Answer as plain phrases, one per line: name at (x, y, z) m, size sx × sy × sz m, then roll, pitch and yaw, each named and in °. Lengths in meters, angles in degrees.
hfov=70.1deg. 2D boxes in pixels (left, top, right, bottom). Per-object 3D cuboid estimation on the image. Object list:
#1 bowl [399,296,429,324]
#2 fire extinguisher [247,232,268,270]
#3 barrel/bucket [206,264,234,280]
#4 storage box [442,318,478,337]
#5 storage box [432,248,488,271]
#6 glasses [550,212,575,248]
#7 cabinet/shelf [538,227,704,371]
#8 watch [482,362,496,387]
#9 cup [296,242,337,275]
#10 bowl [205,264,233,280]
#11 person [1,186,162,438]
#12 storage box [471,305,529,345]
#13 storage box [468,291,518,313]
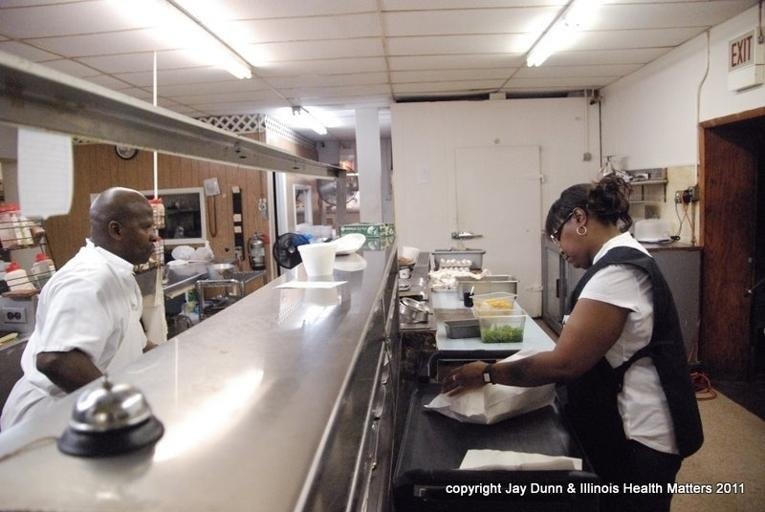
bowl at (0.187, 0.340, 3.359) m, size 0.151 × 0.067 × 0.193 m, roll 2°, pitch 1°, yaw -7°
fire extinguisher at (-1.652, -0.057, 7.155) m, size 0.236 × 0.477 × 0.368 m, roll -4°, pitch 7°, yaw -15°
barrel/bucket at (-1.737, 0.165, 5.904) m, size 0.266 × 0.155 × 0.261 m, roll -1°, pitch -1°, yaw 0°
storage box at (0.519, 0.458, 3.515) m, size 0.180 × 0.057 × 0.117 m, roll -2°, pitch 5°, yaw -7°
storage box at (0.775, 0.026, 5.469) m, size 0.384 × 0.167 × 0.265 m, roll 0°, pitch 0°, yaw 9°
glasses at (0.865, -0.133, 2.630) m, size 0.039 × 0.128 × 0.129 m, roll 22°, pitch 0°, yaw 33°
cabinet/shelf at (2.310, 0.641, 5.435) m, size 1.029 × 1.319 × 1.894 m, roll 0°, pitch 3°, yaw 5°
watch at (0.487, 0.547, 2.504) m, size 0.057 × 0.085 × 0.087 m, roll 0°, pitch -8°, yaw 19°
cup at (-0.323, 0.009, 2.673) m, size 0.166 × 0.118 × 0.162 m, roll -3°, pitch 3°, yaw 0°
bowl at (-1.765, 0.162, 5.893) m, size 0.252 × 0.151 × 0.254 m, roll 0°, pitch -1°, yaw 0°
person at (-1.303, 0.201, 2.304) m, size 0.476 × 0.962 × 0.517 m, roll -1°, pitch 7°, yaw 13°
storage box at (0.772, 0.440, 3.438) m, size 0.270 × 0.126 × 0.184 m, roll -2°, pitch 3°, yaw 5°
storage box at (0.727, 0.308, 3.578) m, size 0.197 × 0.070 × 0.163 m, roll -4°, pitch 7°, yaw 23°
